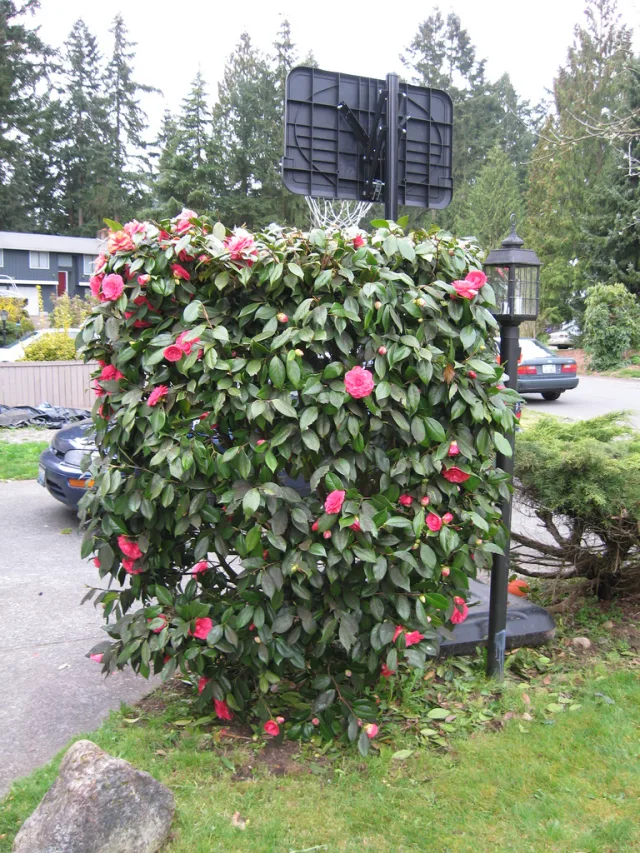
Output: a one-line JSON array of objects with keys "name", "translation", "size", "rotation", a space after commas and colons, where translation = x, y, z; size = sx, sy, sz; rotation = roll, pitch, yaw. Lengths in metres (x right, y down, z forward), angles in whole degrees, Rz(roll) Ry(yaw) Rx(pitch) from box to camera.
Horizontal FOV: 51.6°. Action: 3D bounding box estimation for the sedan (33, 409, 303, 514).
[{"name": "sedan", "translation": [-1.792, 0.491, 6.996], "size": [2.460, 0.986, 1.159], "rotation": [11, 11, -36]}]
